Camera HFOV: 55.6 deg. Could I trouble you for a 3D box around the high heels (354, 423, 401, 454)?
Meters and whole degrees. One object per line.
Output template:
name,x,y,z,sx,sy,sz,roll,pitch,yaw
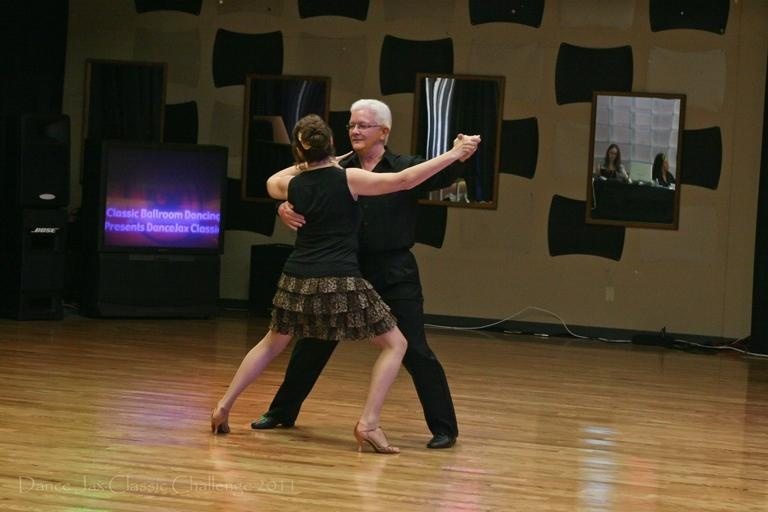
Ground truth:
high heels,0.000,1.140,4.584,0.358,0.203,0.136,3,-4,-11

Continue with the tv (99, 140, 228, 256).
tv,-2.463,-0.630,7.913,1.212,1.055,0.422,3,-1,-19

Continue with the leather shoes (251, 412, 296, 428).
leather shoes,-0.739,1.102,4.902,0.328,0.140,0.112,7,-5,-17

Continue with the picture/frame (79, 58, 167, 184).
picture/frame,-3.262,-1.675,9.424,1.343,1.363,1.312,3,-2,-22
